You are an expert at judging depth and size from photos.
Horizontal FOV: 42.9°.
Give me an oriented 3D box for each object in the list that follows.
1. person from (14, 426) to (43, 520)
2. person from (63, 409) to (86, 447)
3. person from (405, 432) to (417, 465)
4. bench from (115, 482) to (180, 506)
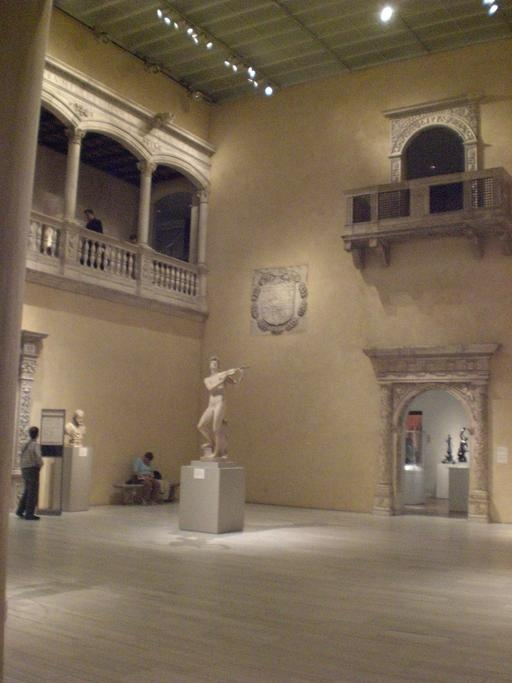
[{"bbox_3d":[-3.436,1.991,9.921,0.365,1.373,0.649,6,-12,-18],"label":"person"},{"bbox_3d":[-3.212,1.516,11.475,0.339,0.667,0.958,5,-11,-14],"label":"person"},{"bbox_3d":[4.044,2.781,17.099,0.250,0.816,0.238,-1,-12,16],"label":"person"},{"bbox_3d":[-2.168,2.993,12.937,0.568,0.419,1.625,-5,-12,34],"label":"bench"}]
